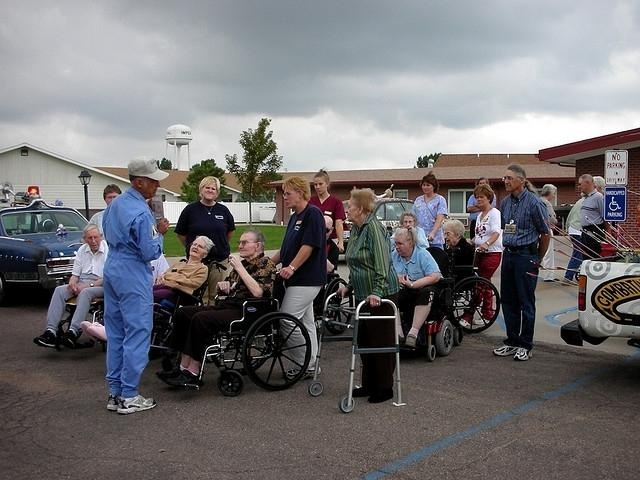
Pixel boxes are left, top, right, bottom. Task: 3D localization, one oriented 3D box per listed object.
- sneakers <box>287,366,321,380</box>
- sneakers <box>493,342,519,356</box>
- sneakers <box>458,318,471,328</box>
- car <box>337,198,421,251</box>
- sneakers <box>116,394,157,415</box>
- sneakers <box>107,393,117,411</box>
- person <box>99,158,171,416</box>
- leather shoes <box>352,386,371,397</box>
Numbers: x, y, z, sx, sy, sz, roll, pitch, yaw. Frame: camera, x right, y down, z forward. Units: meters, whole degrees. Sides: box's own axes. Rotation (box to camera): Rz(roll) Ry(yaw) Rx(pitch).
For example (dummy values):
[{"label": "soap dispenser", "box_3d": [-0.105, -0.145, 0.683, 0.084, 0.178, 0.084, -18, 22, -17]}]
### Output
[{"label": "sneakers", "box_3d": [-0.185, 1.504, 7.022, 0.435, 0.199, 0.186, 4, -1, -24]}, {"label": "sneakers", "box_3d": [2.436, 1.435, 8.071, 0.348, 0.137, 0.118, 1, 2, -8]}, {"label": "sneakers", "box_3d": [2.208, 1.238, 9.376, 0.149, 0.075, 0.234, 1, -3, 1]}, {"label": "car", "box_3d": [1.820, -0.569, 15.880, 1.079, 0.976, 1.942, -1, -2, 40]}, {"label": "sneakers", "box_3d": [-1.828, 1.628, 6.226, 0.365, 0.164, 0.141, -1, 2, -35]}, {"label": "sneakers", "box_3d": [-2.071, 1.617, 6.221, 0.075, 0.087, 0.182, 1, 4, -1]}, {"label": "person", "box_3d": [-1.847, 0.443, 6.236, 0.630, 2.486, 0.549, -2, 6, -18]}, {"label": "leather shoes", "box_3d": [0.427, 1.533, 6.438, 0.188, 0.121, 0.105, -1, -5, 4]}]
